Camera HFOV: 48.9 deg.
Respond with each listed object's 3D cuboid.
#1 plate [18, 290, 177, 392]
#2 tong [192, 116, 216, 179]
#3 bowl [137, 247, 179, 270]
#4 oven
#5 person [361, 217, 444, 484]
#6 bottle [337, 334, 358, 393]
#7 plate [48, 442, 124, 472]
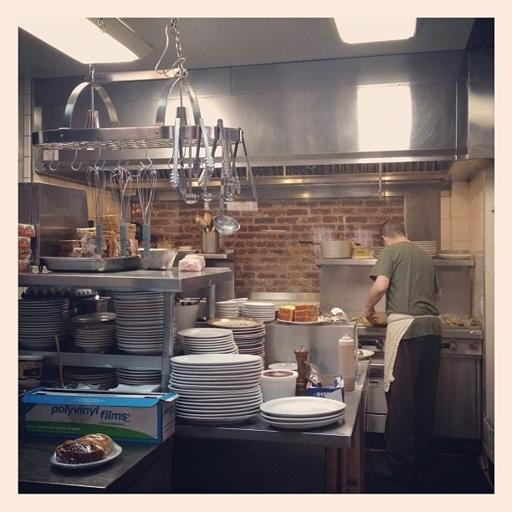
[{"bbox_3d":[-0.635,0.343,2.232,0.465,0.302,0.424,0,2,8],"label":"plate"},{"bbox_3d":[-0.197,-0.425,2.042,0.059,0.159,0.029,8,19,-24],"label":"tong"},{"bbox_3d":[-0.443,0.016,2.551,0.167,0.093,0.078,-1,3,-10],"label":"bowl"},{"bbox_3d":[1.152,0.955,4.186,0.931,0.906,0.642,2,-5,1],"label":"oven"},{"bbox_3d":[0.956,0.595,3.669,0.463,1.644,0.560,0,3,18],"label":"person"},{"bbox_3d":[0.372,0.453,2.363,0.077,0.212,0.078,0,-8,0],"label":"bottle"},{"bbox_3d":[-0.521,0.621,1.723,0.216,0.043,0.116,-1,3,-15],"label":"plate"}]
